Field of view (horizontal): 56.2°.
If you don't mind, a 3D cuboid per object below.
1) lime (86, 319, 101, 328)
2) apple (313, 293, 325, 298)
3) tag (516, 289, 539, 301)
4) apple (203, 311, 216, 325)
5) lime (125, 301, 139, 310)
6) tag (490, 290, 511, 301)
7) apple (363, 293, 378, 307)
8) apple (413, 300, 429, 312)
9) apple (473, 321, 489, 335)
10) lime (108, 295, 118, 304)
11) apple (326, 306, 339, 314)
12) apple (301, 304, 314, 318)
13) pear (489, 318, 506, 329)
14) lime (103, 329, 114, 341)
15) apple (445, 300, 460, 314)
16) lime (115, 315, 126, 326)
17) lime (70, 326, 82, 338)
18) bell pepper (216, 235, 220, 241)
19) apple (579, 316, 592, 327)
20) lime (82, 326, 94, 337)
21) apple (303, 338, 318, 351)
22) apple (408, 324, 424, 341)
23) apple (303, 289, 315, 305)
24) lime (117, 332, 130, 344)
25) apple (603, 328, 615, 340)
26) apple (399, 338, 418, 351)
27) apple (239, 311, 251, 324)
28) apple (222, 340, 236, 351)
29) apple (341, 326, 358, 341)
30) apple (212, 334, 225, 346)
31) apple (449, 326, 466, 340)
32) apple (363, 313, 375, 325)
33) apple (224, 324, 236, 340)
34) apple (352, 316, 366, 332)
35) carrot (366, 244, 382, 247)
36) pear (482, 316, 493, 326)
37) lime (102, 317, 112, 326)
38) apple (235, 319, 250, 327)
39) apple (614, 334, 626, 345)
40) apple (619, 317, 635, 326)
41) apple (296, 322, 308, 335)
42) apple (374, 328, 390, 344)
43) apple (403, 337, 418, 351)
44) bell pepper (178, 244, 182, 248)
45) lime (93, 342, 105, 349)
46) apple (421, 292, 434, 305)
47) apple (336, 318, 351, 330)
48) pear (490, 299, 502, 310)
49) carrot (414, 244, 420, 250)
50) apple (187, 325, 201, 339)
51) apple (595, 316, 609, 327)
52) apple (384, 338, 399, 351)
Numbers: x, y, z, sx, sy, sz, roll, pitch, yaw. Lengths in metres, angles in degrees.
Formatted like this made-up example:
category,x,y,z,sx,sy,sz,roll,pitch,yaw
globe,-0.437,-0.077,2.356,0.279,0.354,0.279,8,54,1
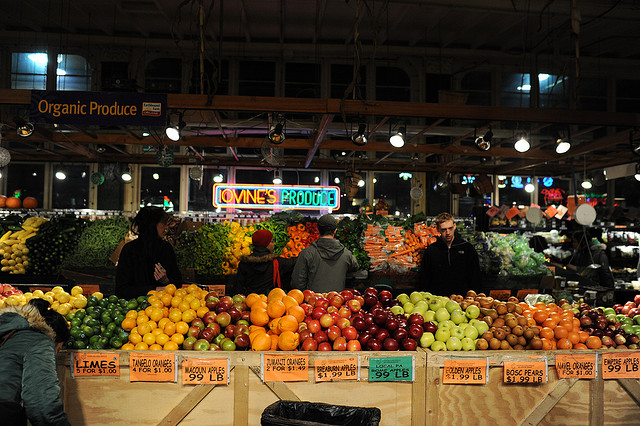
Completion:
category,x,y,z,sx,sy,sz,roll,pitch,yaw
lime,-2.895,1.393,7.607,0.110,0.059,0.112,2,-5,34
apple,-0.018,1.097,7.938,0.091,0.049,0.090,1,0,6
tag,3.455,1.350,9.936,0.370,0.084,0.337,-3,3,11
apple,-1.413,1.343,7.678,0.146,0.150,0.149,7,0,7
lime,-2.447,1.205,7.813,0.127,0.094,0.094,-4,-45,-10
tag,3.155,1.435,10.488,0.426,0.183,0.142,0,-2,-29
apple,0.671,1.146,7.941,0.173,0.161,0.157,9,-20,-13
apple,1.357,1.223,7.870,0.128,0.124,0.151,1,4,8
apple,2.056,1.476,7.732,0.189,0.153,0.153,-5,-20,-11
lime,-2.746,1.145,7.934,0.123,0.089,0.154,0,-2,-29
apple,0.174,1.247,7.743,0.094,0.089,0.088,4,3,-5
apple,-0.144,1.233,7.757,0.143,0.169,0.147,19,29,35
pear,2.306,1.416,7.711,0.129,0.069,0.123,-10,-13,-25
lime,-2.683,1.529,7.585,0.126,0.102,0.103,21,0,-26
apple,1.732,1.220,7.808,0.186,0.153,0.153,4,-23,-2
lime,-2.567,1.374,7.666,0.122,0.141,0.120,0,-1,6
lime,-3.096,1.503,7.553,0.120,0.139,0.117,5,1,-3
bell pepper,-1.778,0.445,10.515,0.078,0.065,0.050,0,-2,-32
apple,3.473,1.414,7.822,0.130,0.119,0.125,0,-4,-1
lime,-2.923,1.494,7.559,0.130,0.097,0.097,32,-11,-3
apple,-0.113,1.640,7.522,0.149,0.161,0.149,-8,-49,47
apple,1.227,1.519,7.634,0.183,0.168,0.178,13,-34,-26
apple,-0.137,1.111,7.932,0.153,0.148,0.150,3,16,9
lime,-2.484,1.569,7.574,0.133,0.160,0.134,-6,-21,-19
apple,3.756,1.557,7.759,0.125,0.146,0.124,-8,0,5
apple,1.112,1.666,7.592,0.165,0.147,0.159,-20,-12,-28
apple,-0.965,1.350,7.691,0.128,0.111,0.124,-1,-1,-2
apple,-1.146,1.662,7.496,0.126,0.116,0.119,8,12,-4
apple,0.380,1.520,7.553,0.166,0.159,0.164,1,-6,-44
apple,-1.287,1.598,7.565,0.118,0.106,0.114,-6,-6,-3
apple,1.753,1.510,7.679,0.161,0.158,0.158,19,4,-12
apple,0.644,1.351,7.716,0.125,0.125,0.146,-25,-54,30
apple,-1.140,1.500,7.596,0.159,0.152,0.149,-16,18,-13
apple,0.493,1.402,7.621,0.169,0.196,0.166,3,-12,-8
carrot,0.994,0.590,10.837,0.316,0.087,0.069,2,-18,-10
pear,2.176,1.402,7.755,0.090,0.114,0.088,8,-6,33
lime,-2.737,1.380,7.679,0.102,0.118,0.100,7,33,8
apple,-0.982,1.394,7.662,0.105,0.104,0.125,24,-20,9
apple,3.865,1.628,7.737,0.119,0.140,0.121,-20,6,24
apple,4.036,1.414,7.857,0.125,0.119,0.124,-6,-4,8
apple,-0.226,1.438,7.512,0.122,0.121,0.114,40,-7,0
apple,0.787,1.544,7.628,0.145,0.146,0.150,-21,-18,-49
apple,1.141,1.653,7.552,0.130,0.153,0.128,-33,3,-1
bell pepper,-2.477,0.586,10.601,0.065,0.054,0.042,0,-2,-14
lime,-2.783,1.665,7.515,0.074,0.072,0.094,-11,-26,-2
apple,1.448,1.127,8.001,0.131,0.157,0.123,36,-46,-9
apple,0.295,1.405,7.651,0.126,0.152,0.125,-48,17,-31
pear,2.336,1.214,7.915,0.104,0.039,0.103,-44,-7,10
carrot,1.779,0.626,10.970,0.015,0.063,0.064,-39,-6,36
apple,-1.588,1.509,7.673,0.145,0.130,0.162,7,-27,16
apple,3.708,1.414,7.866,0.111,0.129,0.109,8,-33,5
apple,0.899,1.661,7.568,0.143,0.146,0.134,18,-34,-10
